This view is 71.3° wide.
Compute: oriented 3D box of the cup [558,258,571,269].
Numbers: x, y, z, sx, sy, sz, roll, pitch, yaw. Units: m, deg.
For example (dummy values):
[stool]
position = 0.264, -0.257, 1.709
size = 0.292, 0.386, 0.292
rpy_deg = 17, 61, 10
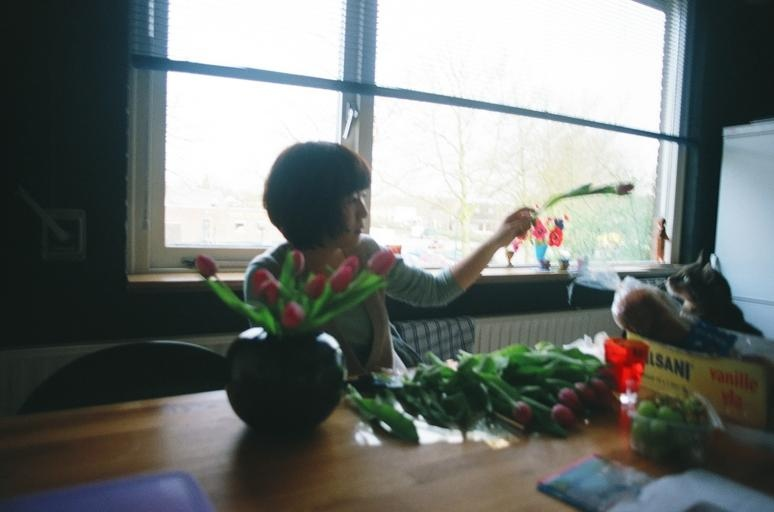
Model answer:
[cup]
position = 1.068, 0.053, 3.251
size = 0.053, 0.065, 0.070
rpy_deg = 3, 8, 10

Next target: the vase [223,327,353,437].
[vase]
position = -0.247, 0.311, 1.406
size = 0.251, 0.190, 0.248
rpy_deg = 0, -1, 8

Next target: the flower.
[flower]
position = -0.256, 0.095, 1.353
size = 0.394, 0.252, 0.411
rpy_deg = -4, 10, -32
